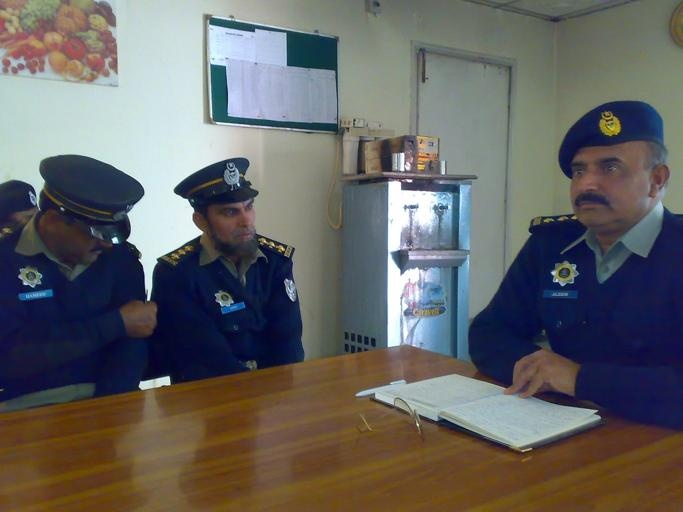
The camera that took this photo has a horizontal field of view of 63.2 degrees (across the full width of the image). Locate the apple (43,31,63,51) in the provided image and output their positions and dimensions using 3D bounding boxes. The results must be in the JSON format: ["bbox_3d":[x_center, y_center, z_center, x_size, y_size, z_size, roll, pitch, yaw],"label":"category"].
[{"bbox_3d":[-1.634,-1.220,3.137,0.091,0.101,0.096,-4,-1,-1],"label":"apple"}]

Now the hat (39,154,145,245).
[{"bbox_3d":[-1.194,-0.241,2.512,0.445,0.240,0.429,24,26,3],"label":"hat"}]

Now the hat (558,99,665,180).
[{"bbox_3d":[0.826,-0.381,1.733,0.219,0.101,0.271,-30,10,-30],"label":"hat"}]

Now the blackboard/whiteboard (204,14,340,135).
[{"bbox_3d":[-0.519,-1.256,3.820,0.931,0.651,0.055,-1,0,-32],"label":"blackboard/whiteboard"}]

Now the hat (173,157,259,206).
[{"bbox_3d":[-0.612,-0.332,2.703,0.307,0.136,0.273,-15,-1,39],"label":"hat"}]

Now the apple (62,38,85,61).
[{"bbox_3d":[-1.550,-1.192,3.208,0.107,0.110,0.101,-18,-9,-32],"label":"apple"}]
